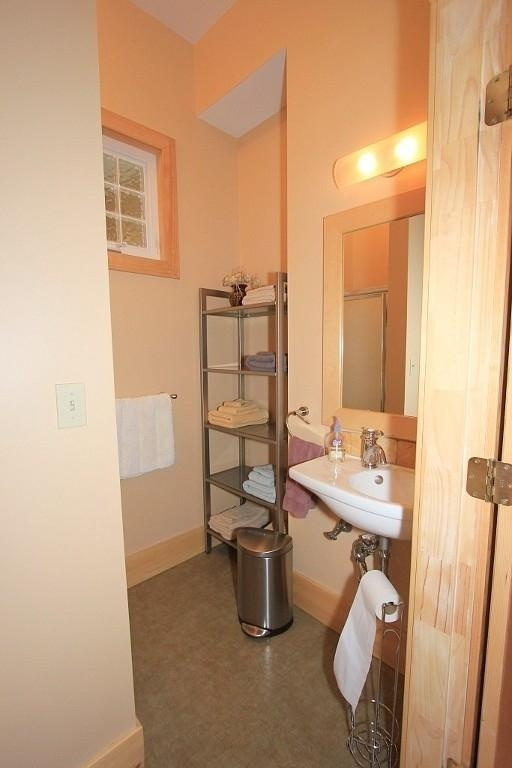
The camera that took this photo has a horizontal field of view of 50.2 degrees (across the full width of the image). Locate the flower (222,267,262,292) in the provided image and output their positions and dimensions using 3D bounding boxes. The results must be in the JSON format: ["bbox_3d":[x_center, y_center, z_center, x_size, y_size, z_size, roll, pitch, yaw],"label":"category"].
[{"bbox_3d":[-0.060,-0.483,2.540,0.143,0.065,0.145,-7,12,-37],"label":"flower"}]

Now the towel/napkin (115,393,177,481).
[{"bbox_3d":[-0.472,0.215,2.354,0.280,0.319,0.292,-3,2,-34],"label":"towel/napkin"}]

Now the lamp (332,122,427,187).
[{"bbox_3d":[0.423,-0.736,1.791,0.332,0.115,0.068,-17,5,6],"label":"lamp"}]

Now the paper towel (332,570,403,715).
[{"bbox_3d":[0.276,0.675,1.367,0.139,0.377,0.162,-1,9,-4],"label":"paper towel"}]

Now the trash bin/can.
[{"bbox_3d":[0.026,0.757,2.144,0.235,0.426,0.302,0,1,22],"label":"trash bin/can"}]

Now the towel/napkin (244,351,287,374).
[{"bbox_3d":[0.009,-0.088,2.359,0.091,0.091,0.298,-4,10,-17],"label":"towel/napkin"}]

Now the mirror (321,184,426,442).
[{"bbox_3d":[0.366,-0.218,1.877,0.031,0.760,0.372,-2,6,-32],"label":"mirror"}]
